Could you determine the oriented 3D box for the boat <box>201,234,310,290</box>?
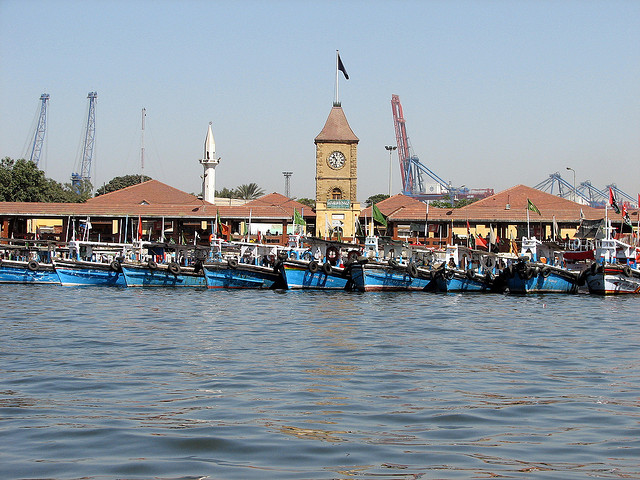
[{"bbox_3d":[-3.874,1.313,52.341,4.868,1.737,2.636,1,0,-45],"label":"boat"}]

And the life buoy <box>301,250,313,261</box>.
[{"bbox_3d":[-0.773,0.822,53.094,0.566,0.511,0.130,3,-4,-7],"label":"life buoy"}]

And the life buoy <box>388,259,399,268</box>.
[{"bbox_3d":[3.652,1.142,49.954,0.545,0.406,0.260,2,-4,-30],"label":"life buoy"}]

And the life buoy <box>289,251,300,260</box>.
[{"bbox_3d":[-1.372,0.752,51.095,0.431,0.396,0.140,4,9,28],"label":"life buoy"}]

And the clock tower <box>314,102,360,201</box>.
[{"bbox_3d":[1.415,-7.079,87.447,3.388,7.383,1.905,0,-3,6],"label":"clock tower"}]
